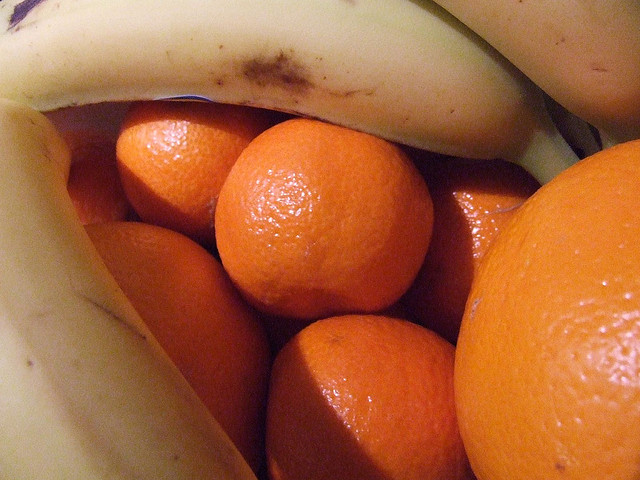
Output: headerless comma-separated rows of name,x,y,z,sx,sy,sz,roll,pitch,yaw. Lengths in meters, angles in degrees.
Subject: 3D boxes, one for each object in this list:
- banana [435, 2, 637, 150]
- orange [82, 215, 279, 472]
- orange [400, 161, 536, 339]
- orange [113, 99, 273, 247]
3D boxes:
banana,0.256,-0.206,0.754,0.253,0.156,0.062,17,65,9
orange,-0.161,0.062,0.828,0.236,0.303,0.297,-4,106,-26
orange,0.191,0.028,0.928,0.172,0.191,0.265,-3,86,24
orange,-0.175,-0.099,0.914,0.185,0.181,0.193,10,64,20
